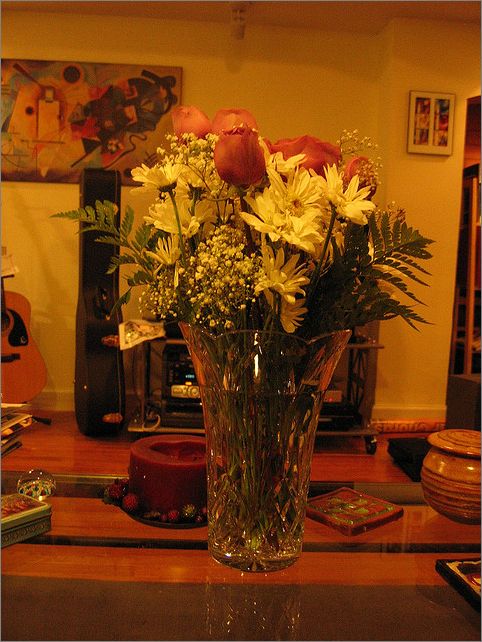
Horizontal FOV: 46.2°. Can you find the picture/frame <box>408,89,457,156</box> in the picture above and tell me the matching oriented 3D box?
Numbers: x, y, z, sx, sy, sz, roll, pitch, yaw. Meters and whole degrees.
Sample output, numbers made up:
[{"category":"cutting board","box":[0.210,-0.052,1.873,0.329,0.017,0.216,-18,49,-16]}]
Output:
[{"category":"picture/frame","box":[1.141,-1.201,3.388,0.353,0.500,0.034,2,0,-8]}]

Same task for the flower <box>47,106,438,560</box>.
[{"category":"flower","box":[0.058,-0.006,0.777,0.426,0.512,0.460,-1,-2,38]}]

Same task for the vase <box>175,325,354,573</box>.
[{"category":"vase","box":[0.026,0.130,0.635,0.179,0.268,0.192,0,-6,10]}]
